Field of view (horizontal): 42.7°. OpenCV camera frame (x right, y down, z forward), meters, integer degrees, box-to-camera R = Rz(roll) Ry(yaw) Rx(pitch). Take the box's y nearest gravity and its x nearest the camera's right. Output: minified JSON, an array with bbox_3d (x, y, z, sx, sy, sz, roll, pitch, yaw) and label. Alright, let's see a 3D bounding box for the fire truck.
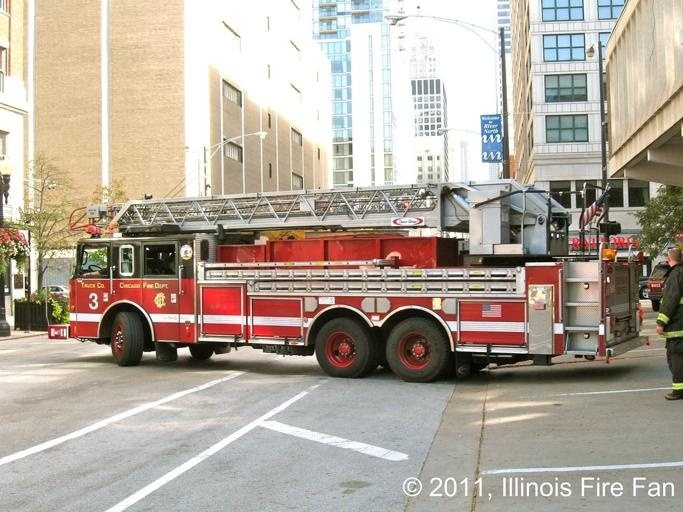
[{"bbox_3d":[-0.589,0.390,19.496,12.449,3.593,4.031,-1,2,28],"label":"fire truck"}]
